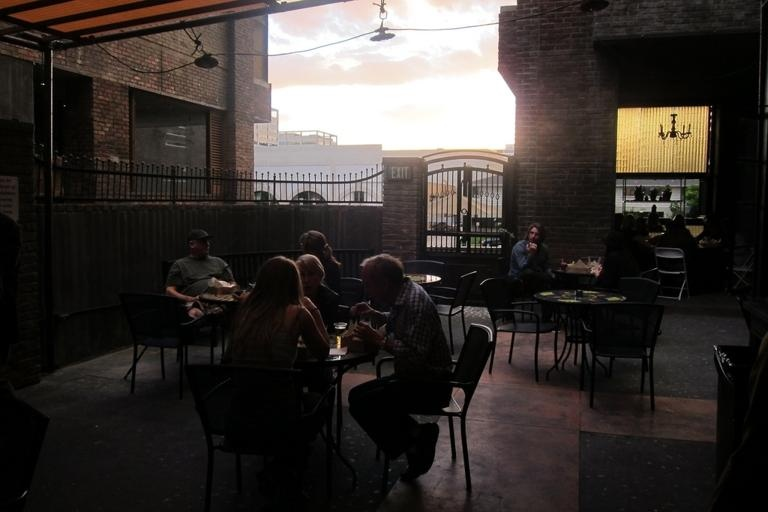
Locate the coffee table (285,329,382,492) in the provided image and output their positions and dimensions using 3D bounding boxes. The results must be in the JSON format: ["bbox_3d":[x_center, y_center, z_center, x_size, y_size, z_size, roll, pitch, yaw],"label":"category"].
[{"bbox_3d":[-0.593,1.510,6.701,1.420,1.314,1.293,-1,-4,14],"label":"coffee table"}]

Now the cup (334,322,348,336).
[{"bbox_3d":[-0.458,0.762,6.772,0.112,0.080,0.111,1,-2,0],"label":"cup"}]

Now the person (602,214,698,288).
[{"bbox_3d":[5.690,-0.088,13.635,0.971,1.240,1.780,1,5,30],"label":"person"}]

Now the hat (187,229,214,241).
[{"bbox_3d":[-2.758,-0.320,9.638,0.343,0.164,0.247,-3,5,-8],"label":"hat"}]

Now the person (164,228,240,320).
[{"bbox_3d":[-2.598,0.206,9.516,1.101,1.280,0.973,-3,-2,-45],"label":"person"}]

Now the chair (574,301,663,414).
[{"bbox_3d":[3.082,1.150,8.444,0.961,1.329,1.476,3,7,18],"label":"chair"}]

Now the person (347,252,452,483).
[{"bbox_3d":[0.182,1.130,6.409,0.982,2.275,0.651,1,7,5],"label":"person"}]

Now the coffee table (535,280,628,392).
[{"bbox_3d":[2.762,0.982,9.188,1.264,0.911,1.246,0,0,-5],"label":"coffee table"}]

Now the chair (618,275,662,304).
[{"bbox_3d":[3.843,0.500,9.604,0.457,0.552,0.409,-2,-4,36],"label":"chair"}]

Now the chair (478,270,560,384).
[{"bbox_3d":[2.157,0.988,9.980,1.541,2.001,1.493,0,2,24],"label":"chair"}]

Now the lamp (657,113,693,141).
[{"bbox_3d":[7.553,-3.452,16.544,0.769,0.586,0.668,6,21,23],"label":"lamp"}]
